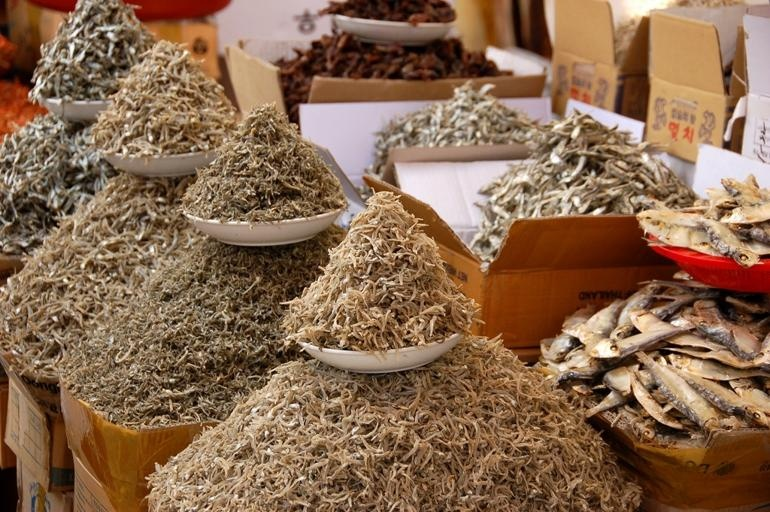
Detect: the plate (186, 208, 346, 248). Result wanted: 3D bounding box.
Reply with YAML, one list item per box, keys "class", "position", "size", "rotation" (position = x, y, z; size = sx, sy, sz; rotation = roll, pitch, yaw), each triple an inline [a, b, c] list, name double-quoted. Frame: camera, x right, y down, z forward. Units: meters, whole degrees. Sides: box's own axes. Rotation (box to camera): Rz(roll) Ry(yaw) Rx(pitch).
- class: "plate"
  position: [-0.445, -0.079, 2.405]
  size: [0.474, 0.090, 0.455]
  rotation: [-3, 2, -35]
